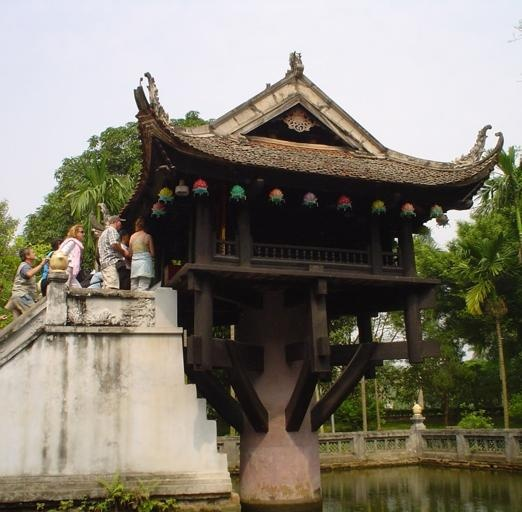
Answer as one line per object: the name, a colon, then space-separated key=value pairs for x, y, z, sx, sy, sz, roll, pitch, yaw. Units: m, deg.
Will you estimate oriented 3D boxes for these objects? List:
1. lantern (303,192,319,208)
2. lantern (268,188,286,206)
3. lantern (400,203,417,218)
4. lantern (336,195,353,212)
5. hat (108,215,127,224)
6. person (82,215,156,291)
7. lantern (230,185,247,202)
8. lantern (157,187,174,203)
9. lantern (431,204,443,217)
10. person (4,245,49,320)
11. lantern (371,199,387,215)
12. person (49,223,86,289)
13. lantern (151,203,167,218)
lantern: x=0.990 y=-1.066 z=12.704 sx=0.251 sy=0.309 sz=0.290 roll=1 pitch=5 yaw=-16
lantern: x=0.306 y=-1.106 z=12.481 sx=0.298 sy=0.332 sz=0.304 roll=6 pitch=-10 yaw=-28
lantern: x=3.032 y=-0.882 z=13.430 sx=0.244 sy=0.263 sz=0.298 roll=-10 pitch=-53 yaw=-1
lantern: x=1.657 y=-1.014 z=12.969 sx=0.247 sy=0.317 sz=0.308 roll=-1 pitch=3 yaw=-32
hat: x=-3.018 y=-0.752 z=13.905 sx=0.483 sy=0.182 sz=0.296 roll=-4 pitch=4 yaw=-39
person: x=-2.766 y=0.072 z=13.056 sx=1.057 sy=1.591 sz=1.304 roll=10 pitch=-22 yaw=-28
lantern: x=-0.429 y=-1.154 z=12.214 sx=0.287 sy=0.320 sz=0.288 roll=-1 pitch=7 yaw=-20
lantern: x=-1.780 y=-1.131 z=12.428 sx=0.263 sy=0.277 sz=0.264 roll=4 pitch=10 yaw=21
lantern: x=3.690 y=-0.943 z=13.768 sx=0.236 sy=0.294 sz=0.323 roll=-5 pitch=-20 yaw=12
person: x=-4.294 y=0.505 z=12.048 sx=0.591 sy=1.590 sz=0.966 roll=7 pitch=-21 yaw=-22
lantern: x=2.374 y=-0.980 z=13.296 sx=0.271 sy=0.354 sz=0.405 roll=-4 pitch=-20 yaw=8
person: x=-3.537 y=0.009 z=12.130 sx=0.476 sy=1.581 sz=1.342 roll=4 pitch=-20 yaw=-15
lantern: x=-1.972 y=-0.870 z=12.826 sx=0.265 sy=0.364 sz=0.279 roll=2 pitch=9 yaw=5
